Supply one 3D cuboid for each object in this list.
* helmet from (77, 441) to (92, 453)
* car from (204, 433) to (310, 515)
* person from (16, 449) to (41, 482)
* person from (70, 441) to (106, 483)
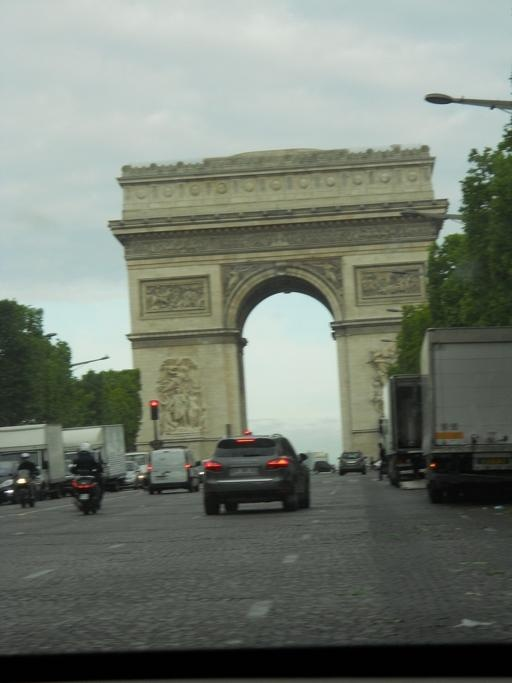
[{"bbox_3d":[-3.334,2.038,24.740,0.175,0.190,0.465,2,1,-15],"label":"helmet"},{"bbox_3d":[0.101,2.222,21.918,1.620,1.044,3.250,-2,-4,10],"label":"car"},{"bbox_3d":[-5.633,3.071,31.388,0.538,0.649,1.332,-2,-4,-10],"label":"person"},{"bbox_3d":[-3.327,2.312,24.777,0.573,0.466,0.897,2,0,5],"label":"person"}]
